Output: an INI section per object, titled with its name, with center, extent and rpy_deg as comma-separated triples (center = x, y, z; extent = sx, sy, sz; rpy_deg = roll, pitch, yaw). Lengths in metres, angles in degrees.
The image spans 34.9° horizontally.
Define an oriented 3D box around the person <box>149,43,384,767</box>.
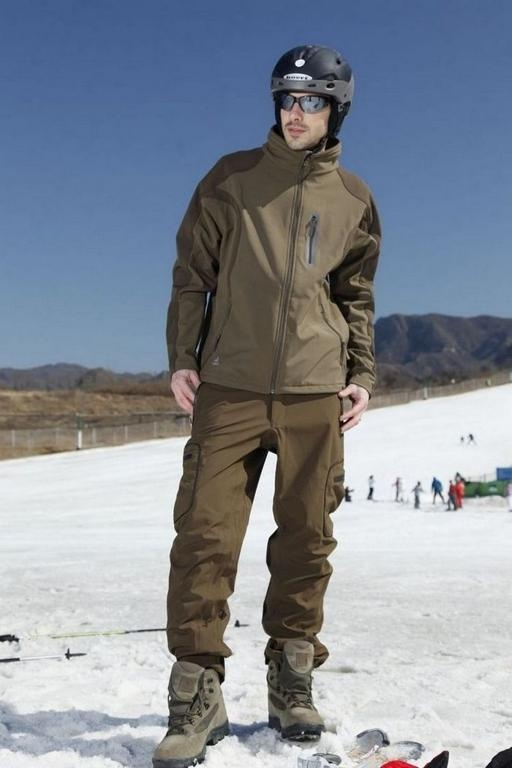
[person]
center = 0.056, 0.008, 2.438
extent = 0.928, 2.096, 0.544
rpy_deg = -5, 7, -19
